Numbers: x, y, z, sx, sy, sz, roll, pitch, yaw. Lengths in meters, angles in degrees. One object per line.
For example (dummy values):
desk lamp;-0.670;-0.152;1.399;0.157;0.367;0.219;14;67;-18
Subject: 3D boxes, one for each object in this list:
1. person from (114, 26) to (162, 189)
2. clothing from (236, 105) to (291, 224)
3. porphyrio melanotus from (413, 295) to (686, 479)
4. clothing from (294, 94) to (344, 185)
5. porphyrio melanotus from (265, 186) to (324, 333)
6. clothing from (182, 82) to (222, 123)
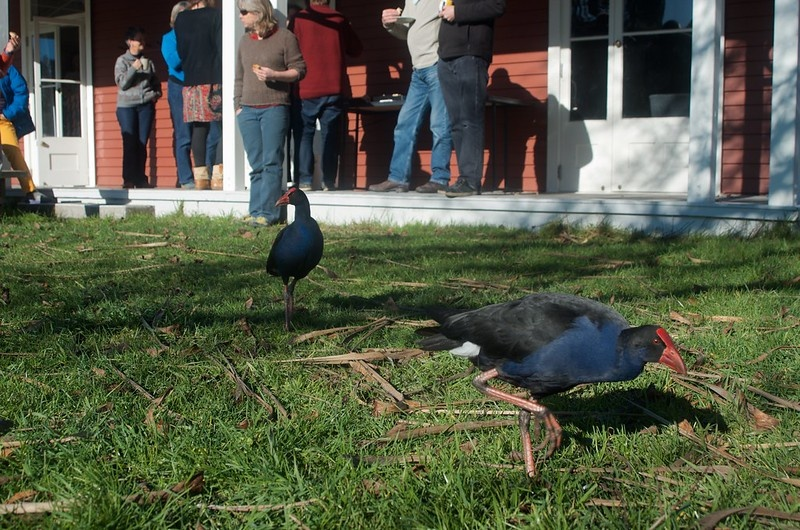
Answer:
person;-3.929;-2.346;13.333;0.673;2.375;0.895;8;14;30
clothing;-1.554;-1.168;10.083;0.667;1.388;0.424;13;10;43
porphyrio melanotus;0.955;0.561;5.526;1.439;0.953;0.808;13;16;14
clothing;-1.043;-1.632;11.583;0.594;1.282;0.390;-2;3;-4
porphyrio melanotus;-0.821;-0.080;6.801;0.428;0.907;0.897;-4;14;-9
clothing;-2.641;-2.264;12.253;0.758;0.537;0.744;1;6;2
